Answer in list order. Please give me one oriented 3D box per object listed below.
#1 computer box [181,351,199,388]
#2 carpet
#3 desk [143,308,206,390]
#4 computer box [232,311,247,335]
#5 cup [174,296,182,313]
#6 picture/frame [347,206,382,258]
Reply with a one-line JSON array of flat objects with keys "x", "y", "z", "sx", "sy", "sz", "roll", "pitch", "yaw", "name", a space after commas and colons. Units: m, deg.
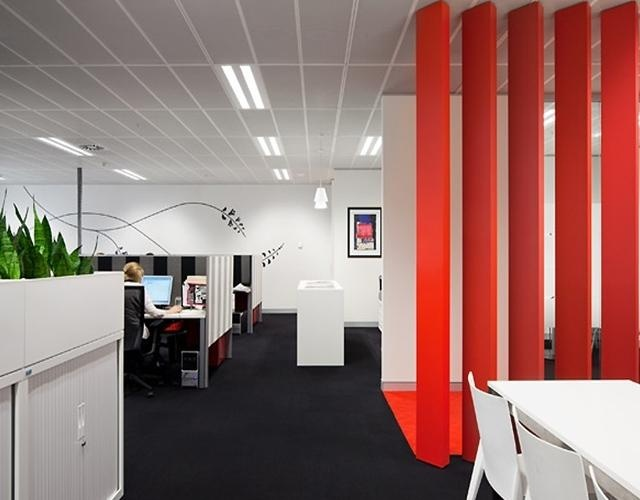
[{"x": -1.377, "y": 1.252, "z": 4.907, "sx": 0.188, "sy": 0.392, "sz": 0.172, "roll": -1, "pitch": 6, "yaw": -18, "name": "computer box"}, {"x": 0.986, "y": 1.495, "z": 4.314, "sx": 0.767, "sy": 0.198, "sz": 1.357, "roll": 2, "pitch": 7, "yaw": 8, "name": "carpet"}, {"x": -1.461, "y": 1.057, "z": 5.093, "sx": 0.699, "sy": 0.714, "sz": 0.731, "roll": 0, "pitch": -3, "yaw": 4, "name": "desk"}, {"x": -1.262, "y": 1.159, "z": 7.535, "sx": 0.247, "sy": 0.454, "sz": 0.470, "roll": 0, "pitch": 0, "yaw": 2, "name": "computer box"}, {"x": -1.599, "y": 0.621, "z": 5.208, "sx": 0.095, "sy": 0.184, "sz": 0.094, "roll": 1, "pitch": -2, "yaw": 0, "name": "cup"}, {"x": 0.785, "y": -0.312, "z": 8.069, "sx": 0.636, "sy": 0.964, "sz": 0.035, "roll": 0, "pitch": -18, "yaw": 6, "name": "picture/frame"}]
